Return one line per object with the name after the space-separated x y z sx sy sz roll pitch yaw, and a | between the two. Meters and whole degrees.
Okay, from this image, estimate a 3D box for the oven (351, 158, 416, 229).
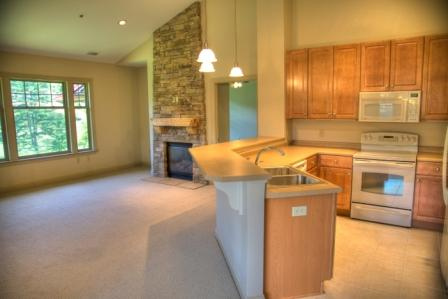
2.705 0.683 5.289 0.996 1.060 0.992 4 9 34 | oven

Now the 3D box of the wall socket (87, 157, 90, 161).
-3.661 0.246 8.176 0.066 0.066 0.016 -4 -7 5 | wall socket

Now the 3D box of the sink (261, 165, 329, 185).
0.897 0.406 4.105 0.389 0.231 0.870 -8 14 -27 | sink

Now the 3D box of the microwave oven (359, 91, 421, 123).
3.044 -0.712 5.502 1.019 0.609 0.871 4 8 32 | microwave oven

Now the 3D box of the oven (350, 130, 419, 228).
2.772 0.443 5.373 0.980 1.498 0.893 4 15 21 | oven

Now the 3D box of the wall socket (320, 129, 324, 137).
1.980 -0.342 6.110 0.074 0.151 0.039 2 15 17 | wall socket
